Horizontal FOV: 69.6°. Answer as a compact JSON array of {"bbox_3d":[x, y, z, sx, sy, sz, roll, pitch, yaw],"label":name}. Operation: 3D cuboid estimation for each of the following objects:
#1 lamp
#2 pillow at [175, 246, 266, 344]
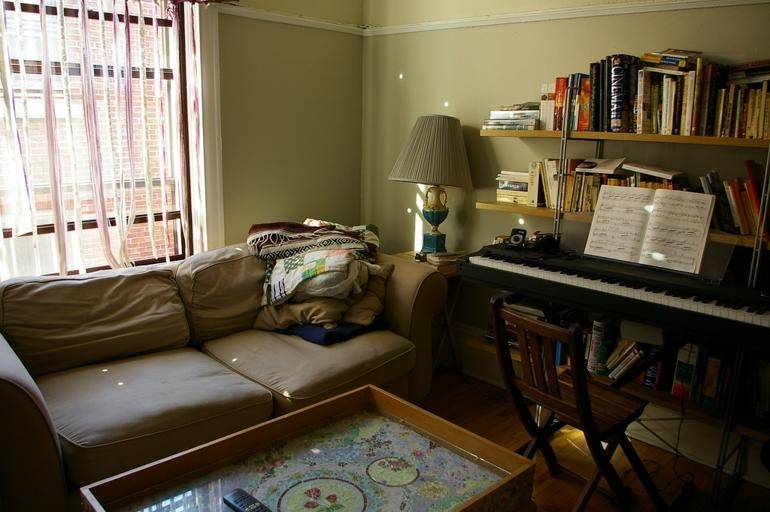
[{"bbox_3d":[0.369,-0.509,3.988,0.585,0.980,0.381,-13,21,-28],"label":"lamp"},{"bbox_3d":[-1.019,0.225,3.588,0.509,0.540,0.573,11,23,28],"label":"pillow"}]
